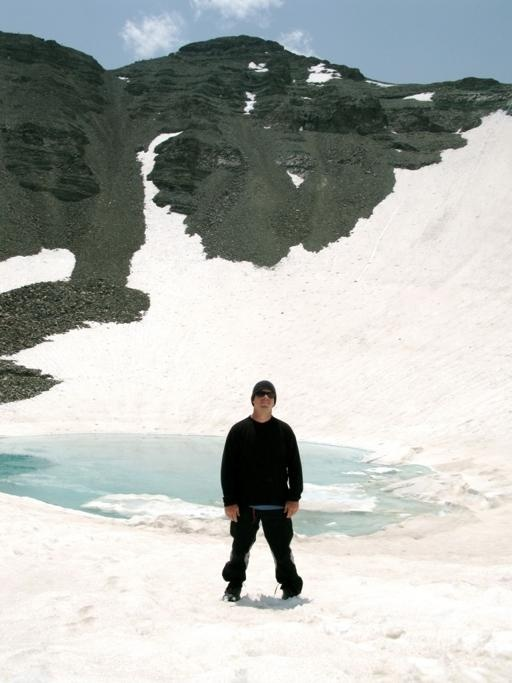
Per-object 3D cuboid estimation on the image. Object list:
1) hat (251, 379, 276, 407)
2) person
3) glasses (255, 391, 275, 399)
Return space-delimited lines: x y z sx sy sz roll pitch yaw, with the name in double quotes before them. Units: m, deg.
"hat" 0.096 0.583 10.431 0.305 0.222 0.282 6 -8 -4
"person" 0.069 1.756 10.399 0.936 2.546 0.588 0 -8 -2
"glasses" 0.117 0.630 10.275 0.132 0.033 0.115 8 -23 -11
